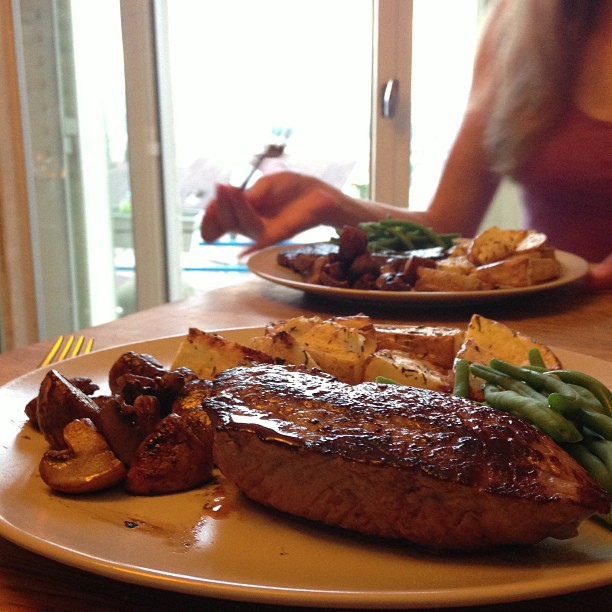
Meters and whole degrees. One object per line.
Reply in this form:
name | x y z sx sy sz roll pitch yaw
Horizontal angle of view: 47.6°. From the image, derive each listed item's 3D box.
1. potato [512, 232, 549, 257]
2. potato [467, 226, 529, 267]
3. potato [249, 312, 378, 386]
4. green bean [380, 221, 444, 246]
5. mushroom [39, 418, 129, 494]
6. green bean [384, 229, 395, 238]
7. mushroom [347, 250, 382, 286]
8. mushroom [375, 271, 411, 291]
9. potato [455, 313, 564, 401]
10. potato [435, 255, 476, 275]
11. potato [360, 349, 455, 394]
potato | 0.419 -0.117 1.313 0.060 0.015 0.058 -26 7 -10
potato | 0.358 -0.116 1.325 0.181 0.068 0.089 -4 9 -1
potato | 0.005 0.044 0.841 0.145 0.042 0.090 1 11 -3
green bean | 0.270 -0.188 1.759 0.142 0.012 0.073 7 24 2
mushroom | -0.187 0.122 0.587 0.073 0.040 0.081 6 12 31
green bean | 0.208 -0.181 1.735 0.025 0.017 0.006 4 8 44
mushroom | 0.104 -0.073 1.338 0.081 0.055 0.030 -18 -21 22
mushroom | 0.168 -0.050 1.256 0.057 0.012 0.043 5 12 3
potato | 0.213 0.052 0.741 0.112 0.075 0.108 -2 12 -9
potato | 0.281 -0.078 1.302 0.065 0.012 0.062 6 16 33
potato | 0.117 0.062 0.761 0.135 0.033 0.088 -7 11 -31
